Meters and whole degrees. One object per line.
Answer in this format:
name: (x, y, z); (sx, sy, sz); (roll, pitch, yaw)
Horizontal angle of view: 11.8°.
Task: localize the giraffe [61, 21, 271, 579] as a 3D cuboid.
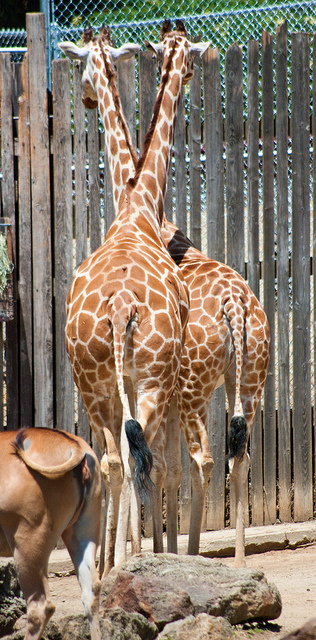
giraffe: (-0.019, -0.170, 8.980); (1.092, 2.449, 1.427); (1, -1, 43)
